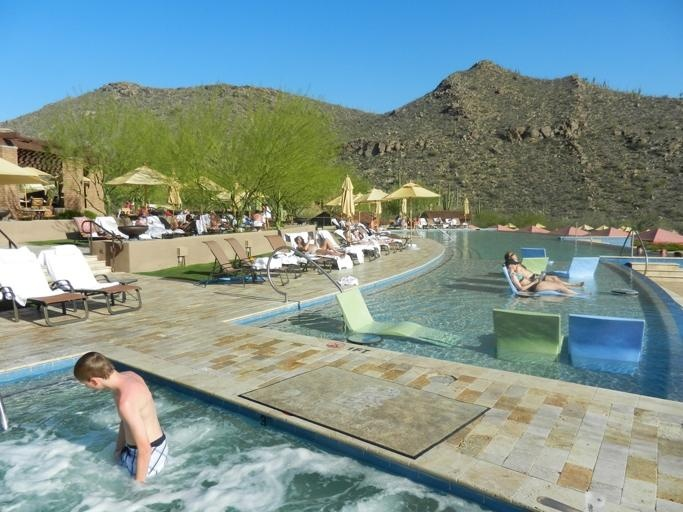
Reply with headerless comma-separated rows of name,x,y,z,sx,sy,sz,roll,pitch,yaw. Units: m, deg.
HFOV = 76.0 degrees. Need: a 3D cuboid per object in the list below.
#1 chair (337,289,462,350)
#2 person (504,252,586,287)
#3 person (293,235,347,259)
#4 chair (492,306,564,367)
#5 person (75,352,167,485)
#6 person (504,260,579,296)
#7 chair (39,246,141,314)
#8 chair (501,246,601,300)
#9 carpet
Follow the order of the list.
chair,0.805,1.038,7.498,2.283,0.726,0.815,6,14,28
person,4.917,0.403,10.492,1.894,0.762,0.816,2,14,22
person,-0.698,-0.333,14.129,1.467,0.788,1.602,-5,7,14
chair,3.129,1.254,6.735,1.168,0.737,1.063,3,-5,-38
person,-2.260,1.715,4.443,0.674,1.522,0.521,-8,43,-10
person,4.863,0.541,10.468,1.721,0.656,0.672,5,22,9
chair,-5.023,0.478,8.813,1.830,0.970,0.985,12,12,21
chair,4.872,0.411,10.482,2.250,0.811,1.195,3,11,19
carpet,0.314,1.596,4.777,2.194,0.014,1.444,5,9,35
